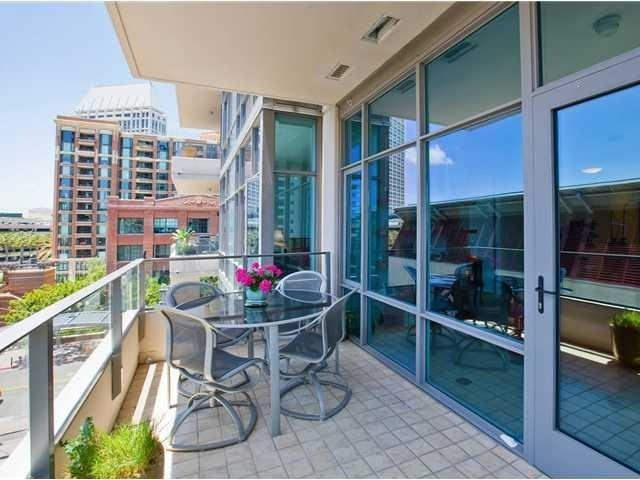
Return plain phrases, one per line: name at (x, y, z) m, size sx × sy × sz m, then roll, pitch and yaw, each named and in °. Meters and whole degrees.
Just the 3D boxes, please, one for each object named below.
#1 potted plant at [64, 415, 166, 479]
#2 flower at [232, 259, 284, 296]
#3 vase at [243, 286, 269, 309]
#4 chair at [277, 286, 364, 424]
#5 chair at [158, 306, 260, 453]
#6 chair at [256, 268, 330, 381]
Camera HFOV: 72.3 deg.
potted plant at (-1.428, 1.453, 3.090) m, size 0.503 × 0.198 × 0.511 m, roll 5°, pitch 4°, yaw 3°
flower at (-0.576, 0.383, 4.140) m, size 0.384 × 0.257 × 0.375 m, roll 9°, pitch 21°, yaw -14°
vase at (-0.601, 0.553, 4.157) m, size 0.219 × 0.143 × 0.195 m, roll 0°, pitch -10°, yaw 4°
chair at (-0.062, 1.002, 4.106) m, size 0.799 × 1.036 × 0.785 m, roll 3°, pitch 10°, yaw 39°
chair at (-0.899, 1.073, 3.717) m, size 0.721 × 1.042 × 0.852 m, roll -2°, pitch 4°, yaw 39°
chair at (-0.168, 0.835, 4.324) m, size 0.690 × 0.908 × 0.692 m, roll -12°, pitch -10°, yaw 10°
